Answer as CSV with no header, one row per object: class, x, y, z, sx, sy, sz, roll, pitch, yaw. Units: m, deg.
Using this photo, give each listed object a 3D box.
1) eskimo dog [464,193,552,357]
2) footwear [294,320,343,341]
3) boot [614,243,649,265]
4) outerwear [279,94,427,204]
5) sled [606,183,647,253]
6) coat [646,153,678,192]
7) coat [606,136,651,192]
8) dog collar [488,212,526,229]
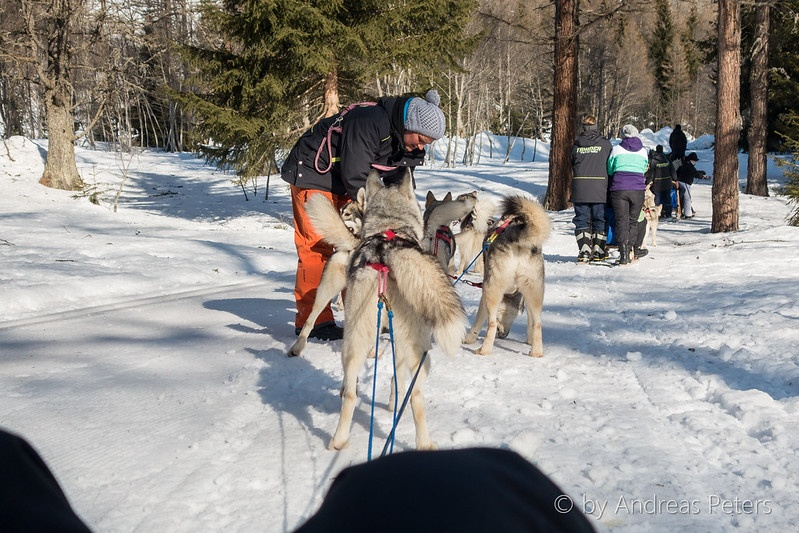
eskimo dog,1.625,0.081,9.586,1.144,2.241,1.247,3,10,12
footwear,-1.239,0.969,9.795,0.827,0.374,0.302,-3,3,12
boot,5.071,-0.359,14.200,0.328,0.465,1.090,8,19,42
outerwear,-0.726,-1.800,9.585,1.827,1.616,1.377,1,18,6
sled,4.979,-1.028,13.992,0.738,1.451,0.484,-1,2,-1
coat,7.936,-2.806,19.440,0.730,1.261,1.683,5,11,25
coat,4.976,-2.133,14.080,0.677,1.246,0.562,7,1,7
dog collar,1.712,-0.734,10.241,0.531,0.215,0.170,-29,24,22
